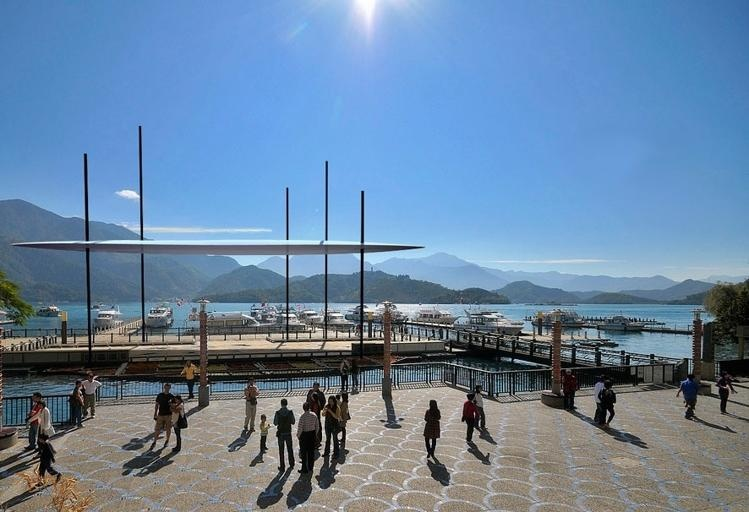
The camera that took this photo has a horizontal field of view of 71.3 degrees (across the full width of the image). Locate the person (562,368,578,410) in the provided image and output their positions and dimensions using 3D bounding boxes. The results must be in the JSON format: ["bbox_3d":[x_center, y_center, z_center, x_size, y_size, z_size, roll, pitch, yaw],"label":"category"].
[{"bbox_3d":[10.307,6.965,27.731,0.612,2.140,1.538,0,-2,19],"label":"person"}]

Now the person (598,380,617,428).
[{"bbox_3d":[11.129,7.012,25.137,0.670,2.073,1.147,0,-2,22],"label":"person"}]

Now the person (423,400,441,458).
[{"bbox_3d":[2.345,7.104,21.680,0.619,2.426,1.233,0,-2,5],"label":"person"}]

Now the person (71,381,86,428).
[{"bbox_3d":[-14.042,6.956,24.740,0.556,2.107,1.042,2,-2,-28],"label":"person"}]

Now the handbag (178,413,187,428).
[{"bbox_3d":[-8.018,6.925,21.980,0.313,0.602,0.509,0,-2,6],"label":"handbag"}]

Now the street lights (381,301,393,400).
[{"bbox_3d":[0.744,5.401,30.041,0.494,5.350,0.943,1,-2,-3],"label":"street lights"}]

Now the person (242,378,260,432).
[{"bbox_3d":[-5.808,6.921,24.533,0.571,2.313,1.437,1,-2,-14],"label":"person"}]
